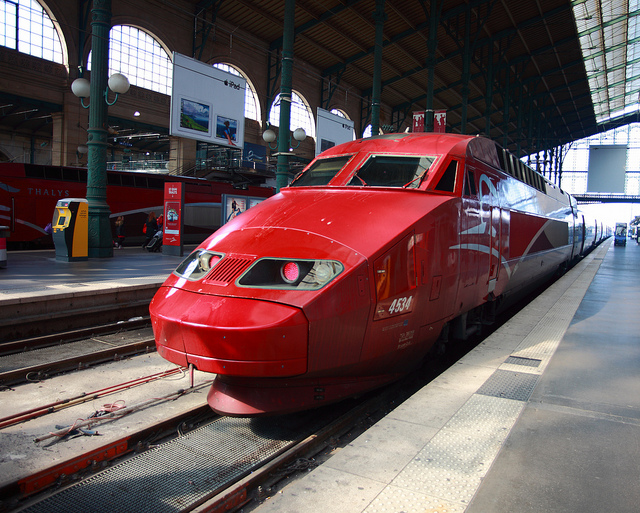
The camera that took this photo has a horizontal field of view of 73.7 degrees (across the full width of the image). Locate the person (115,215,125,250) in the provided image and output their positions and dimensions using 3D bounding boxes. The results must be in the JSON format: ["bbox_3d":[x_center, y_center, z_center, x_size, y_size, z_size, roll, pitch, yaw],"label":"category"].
[{"bbox_3d":[-8.400,-1.059,18.116,0.320,1.331,1.369,0,6,-25],"label":"person"}]

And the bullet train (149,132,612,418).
[{"bbox_3d":[2.411,-0.434,8.940,2.517,3.377,13.093,3,6,36],"label":"bullet train"}]

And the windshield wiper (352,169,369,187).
[{"bbox_3d":[0.464,-0.911,4.916,0.097,0.164,0.085,-38,-28,-15],"label":"windshield wiper"}]

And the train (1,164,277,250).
[{"bbox_3d":[-5.960,-2.373,23.294,3.047,4.223,19.243,5,6,39],"label":"train"}]

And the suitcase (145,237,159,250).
[{"bbox_3d":[-6.575,-0.528,16.757,0.528,0.487,0.143,10,-22,49],"label":"suitcase"}]
